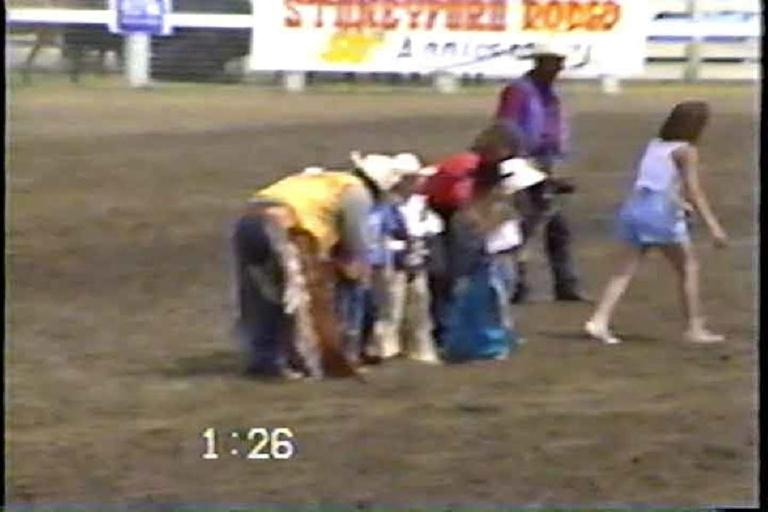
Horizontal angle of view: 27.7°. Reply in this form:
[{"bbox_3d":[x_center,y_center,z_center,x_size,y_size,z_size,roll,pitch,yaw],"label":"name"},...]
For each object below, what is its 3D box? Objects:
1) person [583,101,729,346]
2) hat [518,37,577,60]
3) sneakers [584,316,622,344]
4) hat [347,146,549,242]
[{"bbox_3d":[1.621,-0.191,9.018,0.761,1.377,0.335,4,13,7],"label":"person"},{"bbox_3d":[0.949,-1.185,8.968,0.272,0.053,0.127,-2,-4,0],"label":"hat"},{"bbox_3d":[1.320,0.435,9.091,0.277,0.103,0.094,23,23,-9],"label":"sneakers"},{"bbox_3d":[0.438,-0.385,9.040,0.796,0.255,0.540,-5,14,-1],"label":"hat"}]
